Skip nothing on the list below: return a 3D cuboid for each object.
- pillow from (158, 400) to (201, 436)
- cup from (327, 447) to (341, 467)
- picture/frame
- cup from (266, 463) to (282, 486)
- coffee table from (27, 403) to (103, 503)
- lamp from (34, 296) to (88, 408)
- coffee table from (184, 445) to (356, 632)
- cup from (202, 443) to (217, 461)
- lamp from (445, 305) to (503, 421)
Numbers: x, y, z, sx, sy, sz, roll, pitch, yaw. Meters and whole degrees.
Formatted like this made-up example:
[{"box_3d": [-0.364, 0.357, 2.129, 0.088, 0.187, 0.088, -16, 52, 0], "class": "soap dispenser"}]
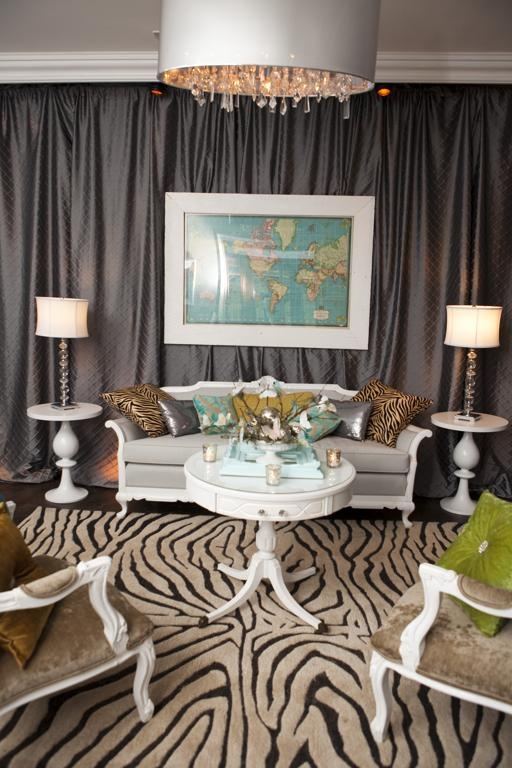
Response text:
[{"box_3d": [-0.511, 0.203, 4.034, 0.081, 0.231, 0.291, -33, -13, 30], "class": "pillow"}, {"box_3d": [0.364, 0.346, 2.883, 0.077, 0.091, 0.078, 2, 1, 0], "class": "cup"}, {"box_3d": [0.138, -0.873, 4.419, 1.071, 0.842, 0.049, 1, 5, 0], "class": "picture/frame"}, {"box_3d": [0.074, 0.376, 2.553, 0.071, 0.087, 0.075, 0, 7, 0], "class": "cup"}, {"box_3d": [-1.325, 0.466, 4.217, 0.492, 0.636, 0.506, 1, 11, -10], "class": "coffee table"}, {"box_3d": [-1.364, -0.238, 4.299, 0.350, 0.757, 0.523, -1, 7, -16], "class": "lamp"}, {"box_3d": [0.045, 0.683, 2.753, 0.615, 0.594, 0.679, -7, 9, -39], "class": "coffee table"}, {"box_3d": [-0.219, 0.325, 2.920, 0.069, 0.082, 0.071, 1, 11, 0], "class": "cup"}, {"box_3d": [1.467, -0.161, 4.146, 0.345, 0.760, 0.487, 4, 7, 21], "class": "lamp"}]
